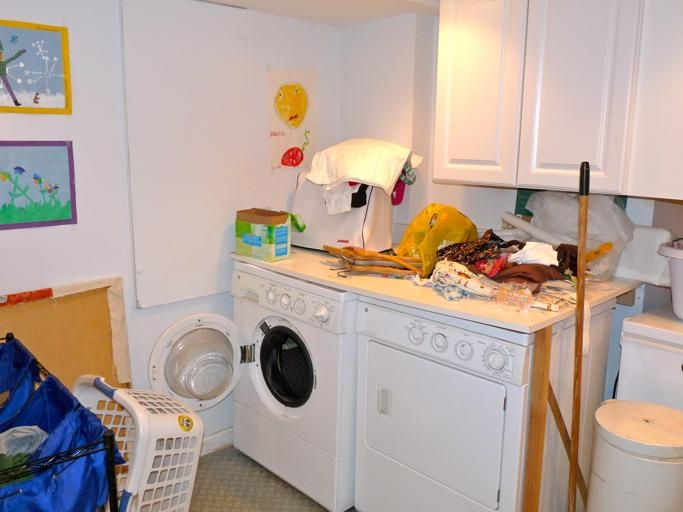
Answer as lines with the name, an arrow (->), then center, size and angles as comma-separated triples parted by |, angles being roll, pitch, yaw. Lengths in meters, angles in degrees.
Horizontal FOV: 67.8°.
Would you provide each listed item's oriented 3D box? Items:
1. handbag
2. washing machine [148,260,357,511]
handbag -> 0.466, -0.115, 2.633 | 0.354, 0.368, 0.353 | 1, 11, -36
washing machine -> -0.366, 0.595, 2.953 | 1.065, 1.438, 1.266 | -5, 12, -43
